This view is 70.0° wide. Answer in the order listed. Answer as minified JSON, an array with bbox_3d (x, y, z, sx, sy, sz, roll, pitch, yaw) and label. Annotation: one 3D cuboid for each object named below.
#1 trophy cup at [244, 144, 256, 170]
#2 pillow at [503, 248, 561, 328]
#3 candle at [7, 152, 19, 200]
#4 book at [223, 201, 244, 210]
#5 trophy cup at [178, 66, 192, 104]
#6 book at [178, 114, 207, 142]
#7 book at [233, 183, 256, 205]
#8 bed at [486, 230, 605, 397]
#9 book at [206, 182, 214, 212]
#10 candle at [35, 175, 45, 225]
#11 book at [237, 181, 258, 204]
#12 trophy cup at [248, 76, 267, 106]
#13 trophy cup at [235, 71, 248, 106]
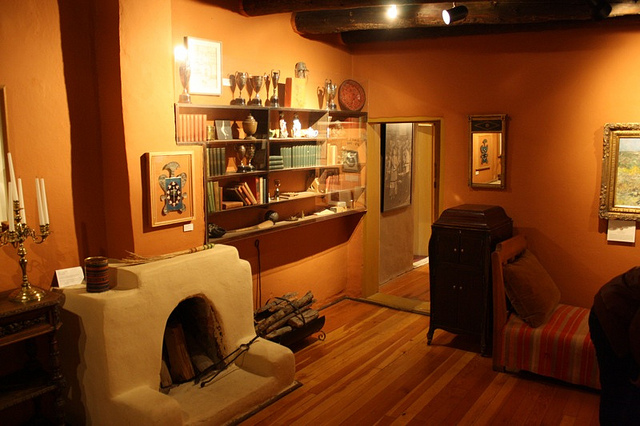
[{"bbox_3d":[-0.825,-0.669,5.456,0.151,0.304,0.107,-7,15,-27],"label":"trophy cup"},{"bbox_3d":[2.499,0.841,5.393,0.522,0.668,1.017,4,15,37],"label":"pillow"},{"bbox_3d":[-2.597,-0.311,3.872,0.042,0.374,0.284,-9,16,-33],"label":"candle"},{"bbox_3d":[-1.011,-0.098,5.298,0.242,0.078,0.103,-11,17,-36],"label":"book"},{"bbox_3d":[-1.433,-1.355,4.828,0.138,0.384,0.107,-4,14,-15],"label":"trophy cup"},{"bbox_3d":[-1.379,-0.917,4.931,0.039,0.284,0.339,14,18,41],"label":"book"},{"bbox_3d":[-0.854,-0.223,5.400,0.188,0.242,0.072,-2,14,-9],"label":"book"},{"bbox_3d":[2.375,0.994,5.415,1.607,1.357,1.152,5,15,30],"label":"bed"},{"bbox_3d":[-1.216,-0.186,5.114,0.053,0.326,0.091,-1,14,-5],"label":"book"},{"bbox_3d":[-2.400,-0.107,3.924,0.040,0.364,0.246,-8,16,-31],"label":"candle"},{"bbox_3d":[-0.845,-0.258,5.436,0.057,0.219,0.215,-21,20,-10],"label":"book"},{"bbox_3d":[-0.759,-1.496,5.574,0.212,0.354,0.436,-1,14,-2],"label":"trophy cup"},{"bbox_3d":[-0.934,-1.488,5.415,0.146,0.381,0.237,-1,14,-2],"label":"trophy cup"}]
